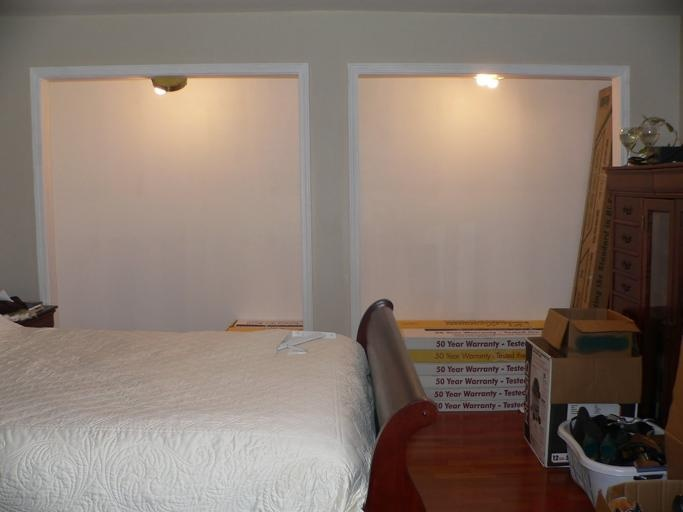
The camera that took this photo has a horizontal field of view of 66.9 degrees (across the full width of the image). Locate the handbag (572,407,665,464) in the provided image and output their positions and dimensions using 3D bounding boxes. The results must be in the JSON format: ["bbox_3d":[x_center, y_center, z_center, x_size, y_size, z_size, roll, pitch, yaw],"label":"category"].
[{"bbox_3d":[1.491,0.972,2.886,0.243,0.141,0.323,-1,-3,-3],"label":"handbag"}]

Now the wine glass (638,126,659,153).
[{"bbox_3d":[2.008,-0.767,3.401,0.102,0.175,0.208,2,9,30],"label":"wine glass"}]
